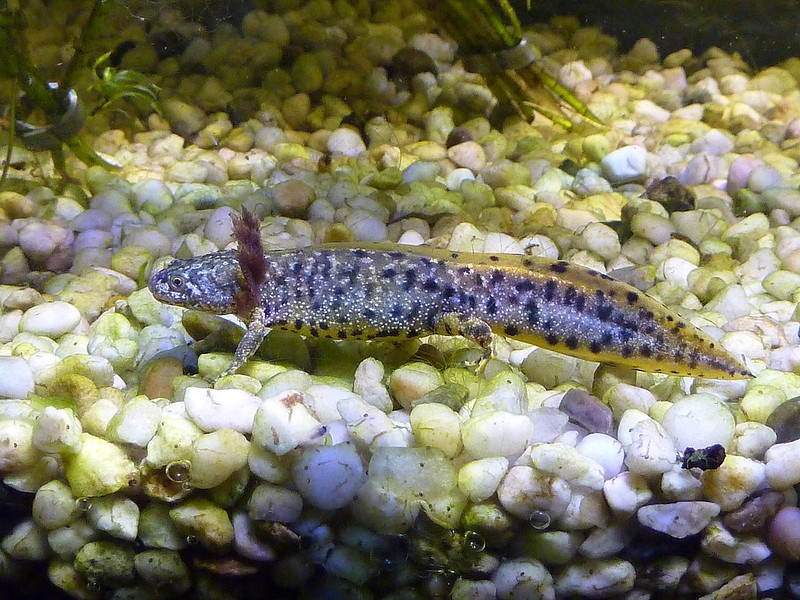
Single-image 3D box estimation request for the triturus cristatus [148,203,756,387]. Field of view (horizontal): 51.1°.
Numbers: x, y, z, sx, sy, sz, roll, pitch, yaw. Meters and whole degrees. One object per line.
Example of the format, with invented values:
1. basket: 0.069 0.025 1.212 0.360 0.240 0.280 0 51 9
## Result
1. triturus cristatus: 0.112 -0.073 3.527 2.719 0.739 0.822 3 18 7
